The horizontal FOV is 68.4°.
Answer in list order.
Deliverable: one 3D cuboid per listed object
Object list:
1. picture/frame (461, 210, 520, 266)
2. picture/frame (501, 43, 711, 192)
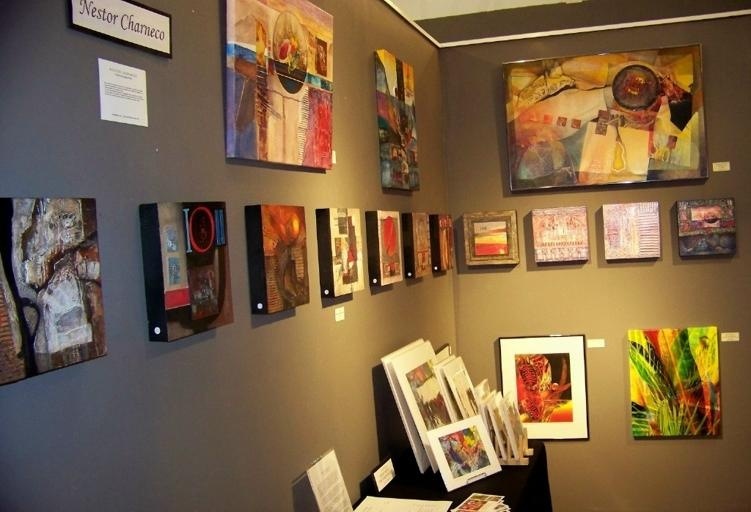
[{"bbox_3d":[1.307,-0.205,6.172,0.544,0.625,0.045,-1,0,11],"label":"picture/frame"},{"bbox_3d":[2.517,-1.469,5.859,1.391,1.087,0.021,-3,-2,8],"label":"picture/frame"}]
